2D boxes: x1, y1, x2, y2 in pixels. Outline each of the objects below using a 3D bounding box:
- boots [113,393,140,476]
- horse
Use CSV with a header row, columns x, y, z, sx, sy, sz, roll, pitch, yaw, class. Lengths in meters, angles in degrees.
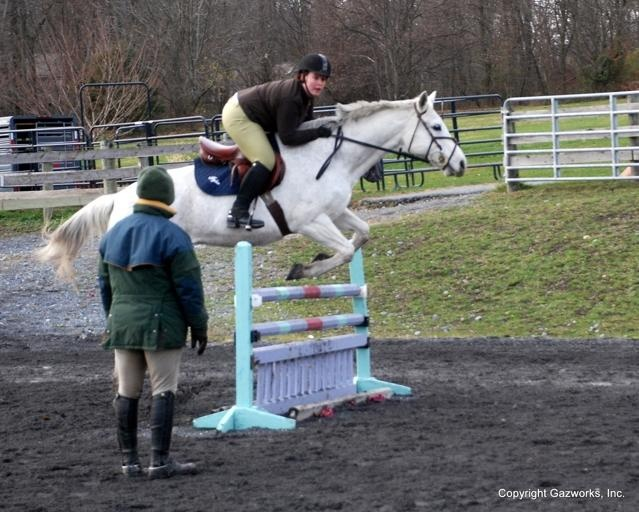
x,y,z,sx,sy,sz,roll,pitch,yaw,class
-2.908,2.779,18.160,0.397,1.151,0.513,-4,-13,-16,boots
-0.857,-0.746,21.453,8.423,3.576,1.669,-3,-2,37,horse
